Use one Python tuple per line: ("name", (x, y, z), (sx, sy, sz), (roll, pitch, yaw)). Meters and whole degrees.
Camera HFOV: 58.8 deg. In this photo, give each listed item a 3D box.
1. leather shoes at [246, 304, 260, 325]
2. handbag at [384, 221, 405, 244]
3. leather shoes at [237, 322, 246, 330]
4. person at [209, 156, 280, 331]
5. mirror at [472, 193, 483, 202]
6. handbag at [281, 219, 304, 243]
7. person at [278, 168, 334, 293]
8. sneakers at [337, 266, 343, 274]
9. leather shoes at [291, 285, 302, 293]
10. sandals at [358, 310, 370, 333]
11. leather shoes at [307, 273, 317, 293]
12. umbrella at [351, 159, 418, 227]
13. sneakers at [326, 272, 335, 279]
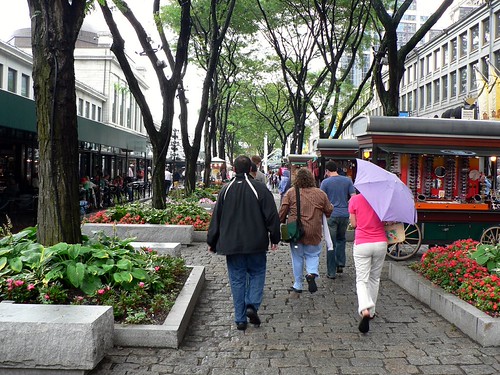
("leather shoes", (0.046, 1.711, 5.998), (0.190, 0.315, 0.236), (1, 3, 2))
("handbag", (2.019, 0.620, 6.219), (0.265, 0.292, 0.067), (-2, -1, 0))
("leather shoes", (-0.102, 1.824, 5.923), (0.138, 0.101, 0.127), (0, 3, -10))
("person", (-0.084, 0.718, 6.058), (0.982, 2.292, 0.442), (1, 3, 3))
("mirror", (5.560, 0.264, 10.830), (0.172, 0.174, 0.067), (-7, 10, 24))
("handbag", (0.680, 0.702, 7.159), (0.385, 0.371, 0.221), (0, 3, -4))
("person", (0.891, 0.734, 7.275), (0.821, 2.078, 0.525), (1, 3, 10))
("sneakers", (1.780, 1.617, 8.805), (0.116, 0.126, 0.123), (0, -8, 3))
("leather shoes", (0.793, 1.723, 7.582), (0.074, 0.093, 0.206), (1, 7, -23))
("sandals", (1.494, 1.748, 5.837), (0.115, 0.345, 0.140), (1, -11, 4))
("leather shoes", (0.955, 1.462, 6.928), (0.129, 0.328, 0.132), (-13, -3, 4))
("umbrella", (1.844, 0.054, 6.145), (0.860, 0.836, 0.600), (2, 3, 21))
("sneakers", (1.548, 1.677, 8.496), (0.060, 0.077, 0.186), (3, -15, -9))
